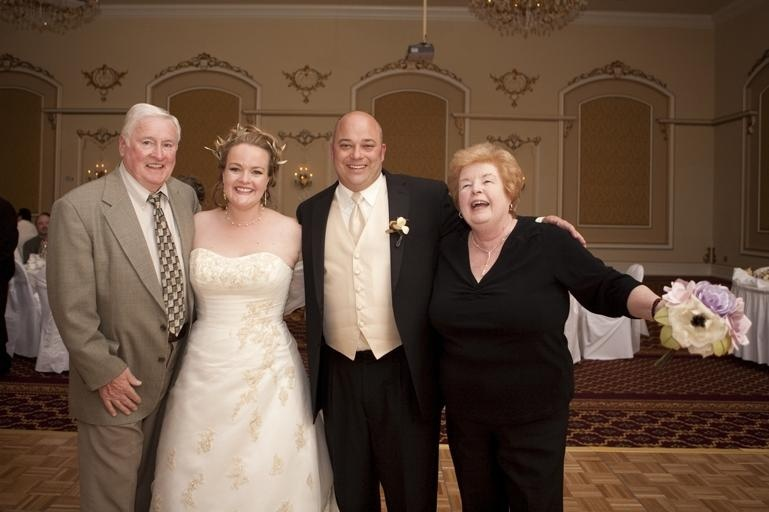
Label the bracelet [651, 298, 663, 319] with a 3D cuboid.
[{"bbox_3d":[1.707,0.313,3.629,0.042,0.120,0.095,14,9,20],"label":"bracelet"}]

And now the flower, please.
[{"bbox_3d":[2.016,0.473,3.726,0.511,0.550,0.556,35,7,15],"label":"flower"}]

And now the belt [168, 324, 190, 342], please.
[{"bbox_3d":[-1.481,0.543,4.162,0.102,0.120,0.059,4,0,-30],"label":"belt"}]
